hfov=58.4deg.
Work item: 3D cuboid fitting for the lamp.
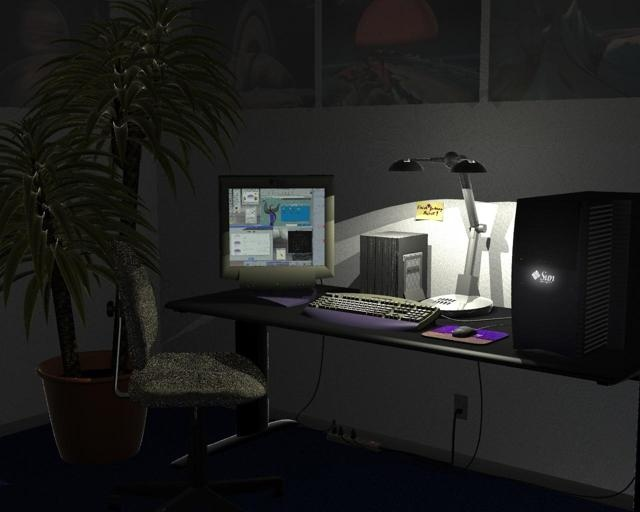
[{"bbox_3d":[0.577,-0.105,2.435,0.451,0.648,0.418,0,2,-45],"label":"lamp"}]

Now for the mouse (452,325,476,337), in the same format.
[{"bbox_3d":[0.531,0.277,2.116,0.060,0.029,0.102,10,16,40],"label":"mouse"}]

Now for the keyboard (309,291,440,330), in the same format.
[{"bbox_3d":[0.216,0.222,2.312,0.298,0.052,0.153,5,29,37],"label":"keyboard"}]

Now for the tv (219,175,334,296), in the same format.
[{"bbox_3d":[-0.200,-0.120,2.763,0.564,0.550,0.289,1,1,4],"label":"tv"}]

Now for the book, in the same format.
[{"bbox_3d":[0.390,0.027,2.788,0.311,0.453,0.279,1,4,30],"label":"book"}]
